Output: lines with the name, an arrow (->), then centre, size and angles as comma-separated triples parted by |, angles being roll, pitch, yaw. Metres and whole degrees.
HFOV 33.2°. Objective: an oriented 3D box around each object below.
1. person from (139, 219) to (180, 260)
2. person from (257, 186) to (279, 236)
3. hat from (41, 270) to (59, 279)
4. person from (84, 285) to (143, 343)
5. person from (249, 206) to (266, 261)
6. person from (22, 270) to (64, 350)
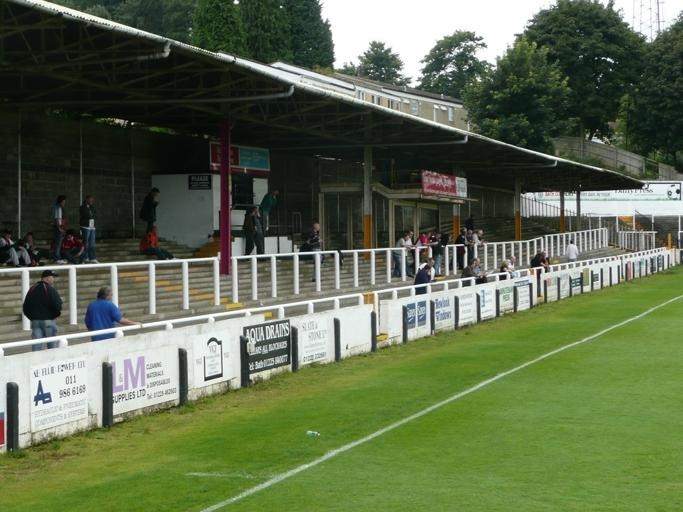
person -> -5.335, -0.378, 32.948 | 1.006, 0.909, 0.816 | -1, 3, 26
person -> -2.553, -1.517, 39.408 | 0.555, 0.503, 1.760 | -2, -29, -6
hat -> -6.759, 0.438, 26.460 | 0.349, 0.186, 0.231 | 3, 6, -33
person -> -5.284, 1.383, 26.291 | 0.969, 1.574, 0.540 | 7, 13, 20
person -> -2.734, -0.767, 35.798 | 0.547, 1.407, 0.993 | -2, 2, -5
person -> -6.637, 1.091, 25.368 | 0.793, 1.486, 0.379 | -3, 2, -19
